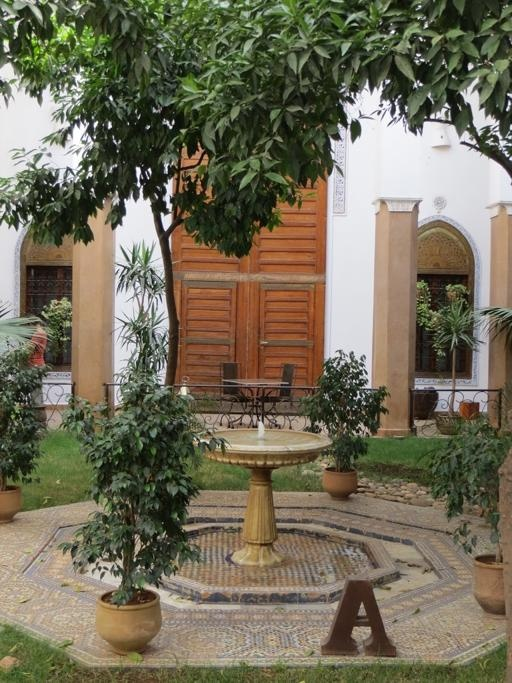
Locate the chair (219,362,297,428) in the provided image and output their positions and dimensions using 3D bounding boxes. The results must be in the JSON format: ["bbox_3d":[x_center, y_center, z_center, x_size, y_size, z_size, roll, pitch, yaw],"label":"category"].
[{"bbox_3d":[0.003,0.896,10.361,1.097,0.835,0.914,1,-2,-6],"label":"chair"}]

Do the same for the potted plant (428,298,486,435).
[{"bbox_3d":[3.101,0.169,10.016,0.634,1.721,0.621,-1,-1,40],"label":"potted plant"}]

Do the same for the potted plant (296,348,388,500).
[{"bbox_3d":[0.884,0.804,6.297,0.771,1.407,1.886,1,-1,10],"label":"potted plant"}]

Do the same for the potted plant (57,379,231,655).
[{"bbox_3d":[-0.516,0.749,2.941,0.713,1.179,0.654,1,-1,-18],"label":"potted plant"}]
